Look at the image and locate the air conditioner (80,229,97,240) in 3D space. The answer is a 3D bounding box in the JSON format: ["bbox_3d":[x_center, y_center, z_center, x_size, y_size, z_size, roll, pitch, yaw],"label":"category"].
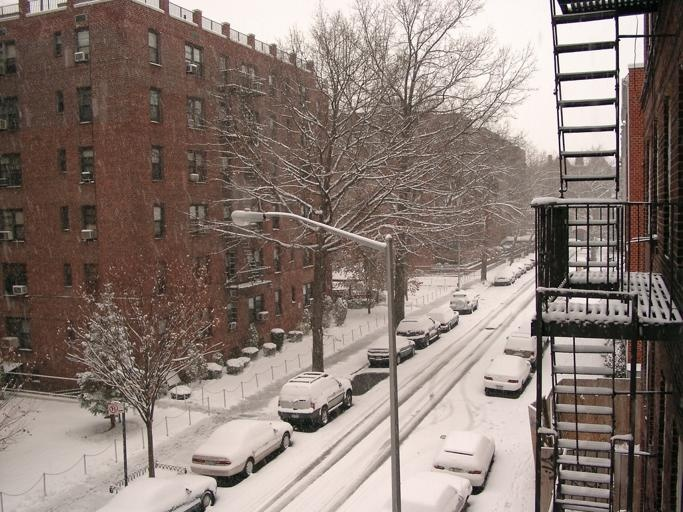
[{"bbox_3d":[-12.502,-0.890,36.035,0.663,0.709,0.502,0,-1,3],"label":"air conditioner"}]

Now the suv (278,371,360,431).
[{"bbox_3d":[-1.016,5.947,30.635,1.459,1.629,3.226,1,10,26],"label":"suv"}]

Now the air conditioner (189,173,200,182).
[{"bbox_3d":[-7.811,-4.154,38.675,0.356,0.391,0.402,-1,1,9],"label":"air conditioner"}]

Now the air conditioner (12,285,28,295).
[{"bbox_3d":[-16.786,1.780,37.822,0.860,0.630,0.573,-5,-3,38],"label":"air conditioner"}]

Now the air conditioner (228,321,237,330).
[{"bbox_3d":[-6.084,3.900,40.583,0.317,0.537,0.526,4,4,31],"label":"air conditioner"}]

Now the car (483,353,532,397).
[{"bbox_3d":[7.423,5.430,32.773,1.801,1.186,2.256,-4,-3,21],"label":"car"}]

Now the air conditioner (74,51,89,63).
[{"bbox_3d":[-12.880,-9.806,35.800,0.676,0.481,0.419,-5,-3,36],"label":"air conditioner"}]

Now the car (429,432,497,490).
[{"bbox_3d":[4.414,7.021,24.951,1.176,1.072,2.136,3,21,26],"label":"car"}]

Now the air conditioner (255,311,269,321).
[{"bbox_3d":[-4.734,3.622,43.529,0.390,0.559,0.727,-2,-1,20],"label":"air conditioner"}]
